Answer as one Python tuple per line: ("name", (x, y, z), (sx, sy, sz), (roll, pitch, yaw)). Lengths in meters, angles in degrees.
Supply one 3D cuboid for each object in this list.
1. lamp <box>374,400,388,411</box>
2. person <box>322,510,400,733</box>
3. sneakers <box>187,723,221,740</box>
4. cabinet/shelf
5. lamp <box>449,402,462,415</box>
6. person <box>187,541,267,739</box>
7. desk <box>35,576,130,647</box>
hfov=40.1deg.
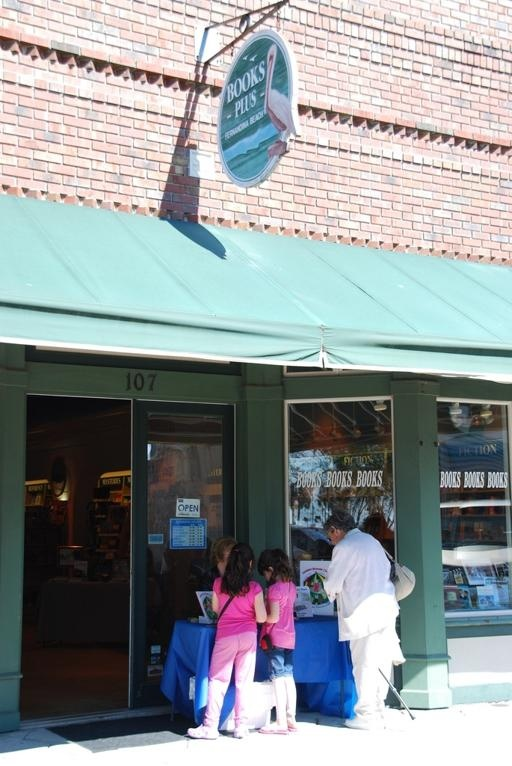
("lamp", (1.071, 0.198, 6.039), (0.082, 0.088, 0.084), (1, -1, -22))
("person", (0.723, 1.600, 4.755), (0.496, 1.391, 0.388), (-3, -6, 10))
("sneakers", (-0.321, 2.142, 4.330), (0.174, 0.088, 0.092), (5, -11, 6))
("cabinet/shelf", (-2.253, 2.556, 11.583), (0.602, 2.006, 1.094), (-4, -30, 3))
("lamp", (1.789, 0.258, 6.300), (0.108, 0.123, 0.035), (-6, -7, -30))
("person", (-0.141, 1.625, 4.546), (0.405, 1.255, 0.419), (3, 3, 7))
("desk", (-2.047, 2.808, 8.470), (1.276, 0.793, 0.324), (-4, -6, 19))
